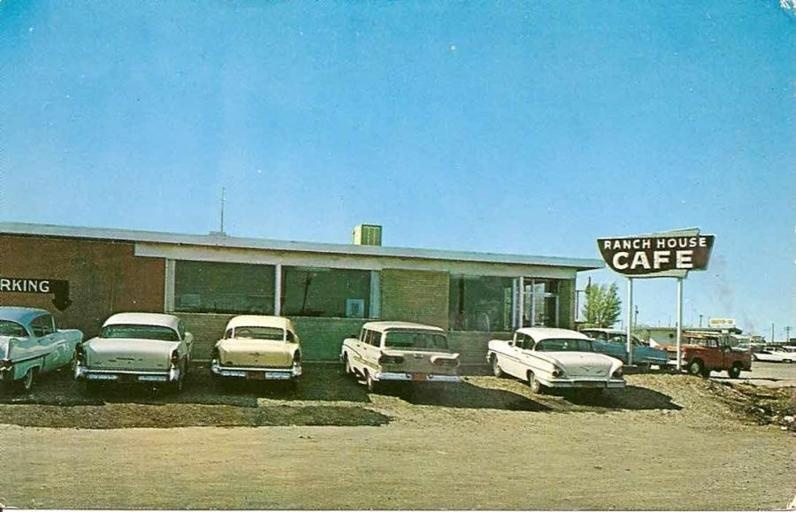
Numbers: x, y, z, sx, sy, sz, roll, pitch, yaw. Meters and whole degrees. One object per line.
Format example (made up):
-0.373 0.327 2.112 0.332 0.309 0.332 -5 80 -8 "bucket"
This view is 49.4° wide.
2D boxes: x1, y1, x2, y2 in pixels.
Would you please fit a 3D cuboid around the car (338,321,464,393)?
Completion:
-0.124 2.634 23.822 1.703 1.066 2.806 3 0 -16 "car"

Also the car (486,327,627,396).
4.432 3.064 24.514 1.860 1.769 3.708 -1 11 -29 "car"

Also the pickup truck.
11.422 3.611 32.711 4.028 1.665 2.255 3 -6 -11 "pickup truck"
